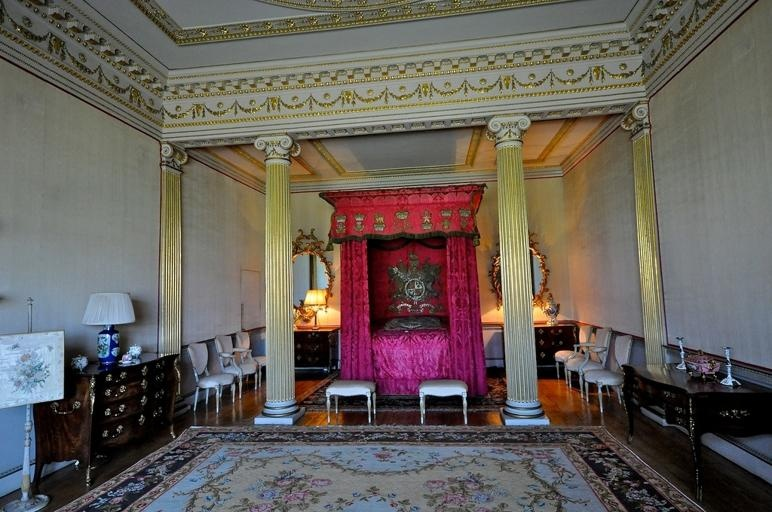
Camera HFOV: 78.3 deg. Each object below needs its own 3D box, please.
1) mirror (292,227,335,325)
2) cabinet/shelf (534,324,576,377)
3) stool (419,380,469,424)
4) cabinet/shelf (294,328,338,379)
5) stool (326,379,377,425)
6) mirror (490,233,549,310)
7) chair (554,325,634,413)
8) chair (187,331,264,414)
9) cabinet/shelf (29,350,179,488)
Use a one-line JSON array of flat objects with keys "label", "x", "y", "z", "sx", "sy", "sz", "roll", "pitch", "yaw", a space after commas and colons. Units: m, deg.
[{"label": "mirror", "x": -1.758, "y": 0.441, "z": 10.863, "sx": 1.475, "sy": 2.088, "sz": 0.111, "roll": -4, "pitch": 0, "yaw": 31}, {"label": "cabinet/shelf", "x": 3.626, "y": 1.811, "z": 9.786, "sx": 0.481, "sy": 1.075, "sz": 1.233, "roll": 11, "pitch": -23, "yaw": 2}, {"label": "stool", "x": 0.918, "y": 2.275, "z": 7.330, "sx": 0.837, "sy": 0.594, "sz": 0.831, "roll": -6, "pitch": -12, "yaw": 22}, {"label": "cabinet/shelf", "x": -1.544, "y": 2.121, "z": 10.470, "sx": 0.979, "sy": 0.870, "sz": 0.767, "roll": -2, "pitch": -7, "yaw": 4}, {"label": "stool", "x": -0.491, "y": 2.242, "z": 7.461, "sx": 0.675, "sy": 0.552, "sz": 0.672, "roll": 0, "pitch": -8, "yaw": 4}, {"label": "mirror", "x": 2.893, "y": 0.332, "z": 10.215, "sx": 1.275, "sy": 1.583, "sz": 0.599, "roll": 0, "pitch": 11, "yaw": 10}, {"label": "chair", "x": 3.538, "y": 1.892, "z": 8.005, "sx": 1.117, "sy": 1.476, "sz": 1.078, "roll": 2, "pitch": -7, "yaw": -9}, {"label": "chair", "x": -2.840, "y": 2.004, "z": 8.420, "sx": 0.937, "sy": 1.324, "sz": 1.558, "roll": -1, "pitch": 10, "yaw": 6}, {"label": "cabinet/shelf", "x": -3.707, "y": 2.101, "z": 6.515, "sx": 0.866, "sy": 1.202, "sz": 1.743, "roll": -3, "pitch": -2, "yaw": 9}]
